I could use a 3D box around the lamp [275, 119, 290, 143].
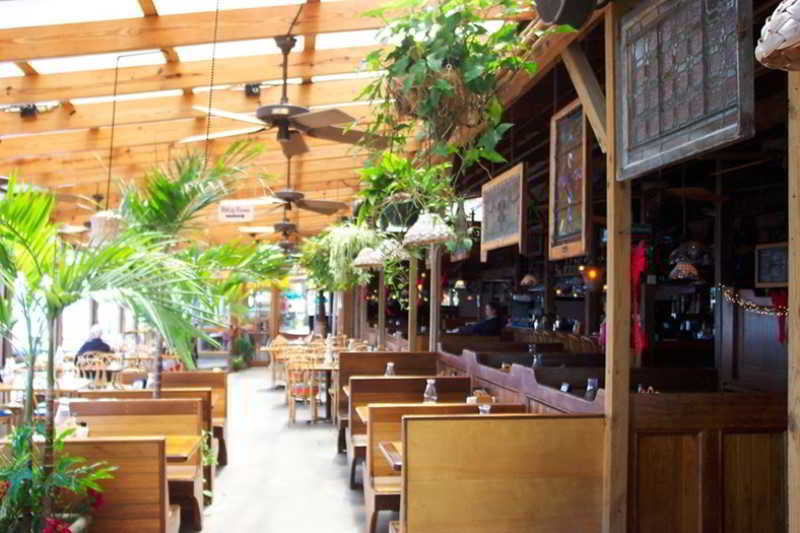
[{"bbox_3d":[-1.125,-1.312,6.575,0.146,0.166,0.142,0,1,-37],"label":"lamp"}]

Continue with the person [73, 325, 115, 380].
[{"bbox_3d":[-5.053,1.380,11.399,0.583,0.918,0.627,26,21,38],"label":"person"}]

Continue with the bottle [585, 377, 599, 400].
[{"bbox_3d":[1.434,0.924,5.146,0.091,0.154,0.244,-3,-8,15],"label":"bottle"}]

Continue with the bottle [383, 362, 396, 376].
[{"bbox_3d":[-0.097,1.145,7.674,0.153,0.208,0.156,1,-12,0],"label":"bottle"}]

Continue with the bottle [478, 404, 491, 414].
[{"bbox_3d":[0.649,1.092,5.260,0.089,0.059,0.089,-1,-4,0],"label":"bottle"}]

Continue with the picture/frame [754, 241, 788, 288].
[{"bbox_3d":[4.378,0.000,8.091,0.059,0.455,0.509,7,2,-15],"label":"picture/frame"}]

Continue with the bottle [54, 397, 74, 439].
[{"bbox_3d":[-2.870,1.310,5.919,0.092,0.227,0.097,-5,-2,0],"label":"bottle"}]

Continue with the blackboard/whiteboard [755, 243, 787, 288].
[{"bbox_3d":[4.402,-0.002,8.287,0.535,0.509,0.290,-1,-3,-18],"label":"blackboard/whiteboard"}]

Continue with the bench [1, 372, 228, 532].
[{"bbox_3d":[-2.215,1.753,6.138,1.219,0.778,1.224,0,10,2],"label":"bench"}]

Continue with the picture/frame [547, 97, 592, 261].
[{"bbox_3d":[1.305,-0.665,5.330,0.084,1.186,0.637,10,24,38],"label":"picture/frame"}]

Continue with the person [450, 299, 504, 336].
[{"bbox_3d":[1.338,0.872,11.149,0.871,0.642,0.527,-3,9,24],"label":"person"}]

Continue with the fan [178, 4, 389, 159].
[{"bbox_3d":[-0.983,-1.402,6.707,1.586,1.295,1.635,-4,-9,32],"label":"fan"}]
